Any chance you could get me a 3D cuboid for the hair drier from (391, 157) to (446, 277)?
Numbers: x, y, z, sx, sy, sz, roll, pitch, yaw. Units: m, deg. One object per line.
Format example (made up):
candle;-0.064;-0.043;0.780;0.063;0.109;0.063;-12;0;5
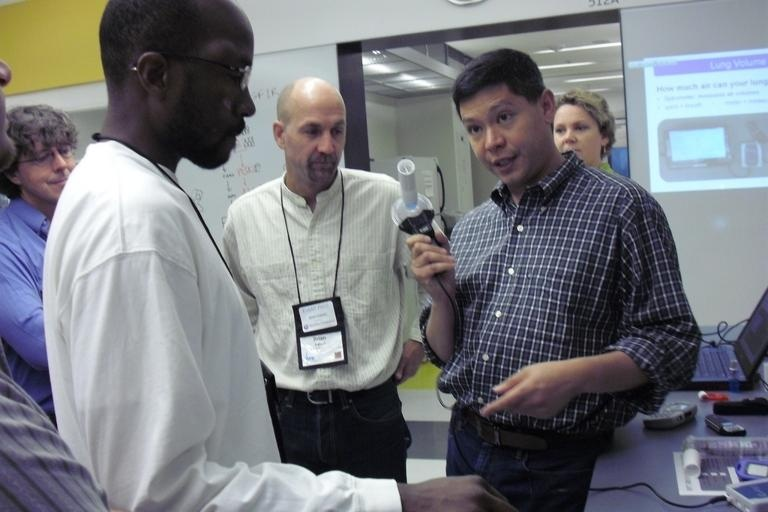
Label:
hair drier;0.115;-0.108;2.084;0.123;0.386;0.119;-20;7;-30
